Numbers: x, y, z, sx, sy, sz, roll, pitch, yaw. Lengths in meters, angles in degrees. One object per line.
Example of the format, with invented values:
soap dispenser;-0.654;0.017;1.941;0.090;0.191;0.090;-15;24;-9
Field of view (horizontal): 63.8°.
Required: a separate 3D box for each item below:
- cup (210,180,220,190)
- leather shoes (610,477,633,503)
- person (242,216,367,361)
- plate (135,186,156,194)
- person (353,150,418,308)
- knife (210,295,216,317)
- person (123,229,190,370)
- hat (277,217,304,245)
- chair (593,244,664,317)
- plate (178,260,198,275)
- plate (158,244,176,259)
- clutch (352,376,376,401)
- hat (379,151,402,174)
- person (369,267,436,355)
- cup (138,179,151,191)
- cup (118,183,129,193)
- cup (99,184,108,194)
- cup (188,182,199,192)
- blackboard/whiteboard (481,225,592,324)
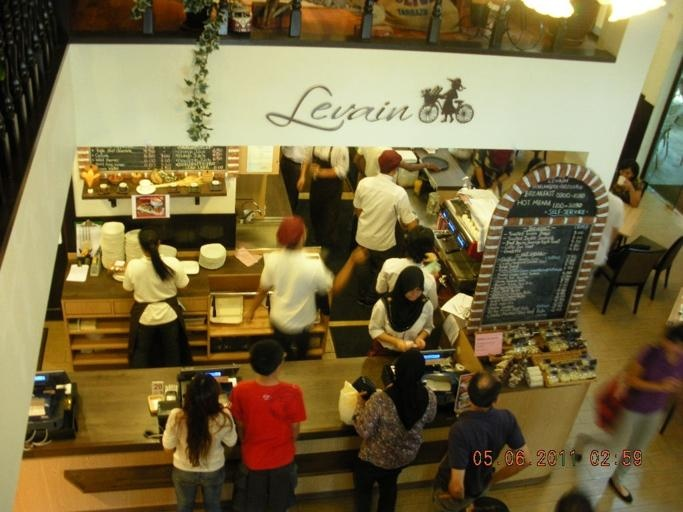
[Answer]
cup;-1.527;-0.857;6.683;0.113;0.111;0.137;-3;20;-14
leather shoes;2.757;2.341;5.472;0.094;0.074;0.270;-23;50;-14
person;-0.513;0.355;5.426;0.775;1.575;0.410;16;23;33
plate;-2.260;-0.756;6.351;0.208;0.077;0.162;-5;21;-20
person;0.509;-0.327;7.144;0.788;2.084;0.693;11;35;10
knife;-1.439;0.569;6.124;0.086;0.225;0.049;0;-1;1
person;-1.938;0.493;5.757;0.648;1.703;0.447;-5;20;-21
hat;-0.467;-0.256;5.105;0.208;0.274;0.257;8;-19;-7
chair;3.987;0.204;7.781;0.613;1.144;0.744;2;33;2
plate;-1.764;0.120;6.388;0.182;0.032;0.152;2;50;-16
plate;-2.014;-0.049;6.340;0.186;0.189;0.191;-2;2;11
clutch;0.193;1.119;4.675;0.169;0.150;0.189;-39;40;2
hat;0.569;-1.121;6.603;0.253;0.281;0.228;2;19;-3
person;0.575;0.465;5.074;0.600;0.818;0.323;2;19;-1
cup;-2.292;-0.815;6.416;0.144;0.110;0.118;-8;66;-25
cup;-2.542;-0.794;6.395;0.119;0.102;0.143;-5;21;-21
cup;-2.739;-0.779;6.332;0.101;0.083;0.131;-6;21;-22
cup;-1.758;-0.807;6.560;0.103;0.103;0.063;-3;20;-16
blackboard/whiteboard;1.777;0.155;5.087;0.936;1.115;0.063;-4;31;-18
